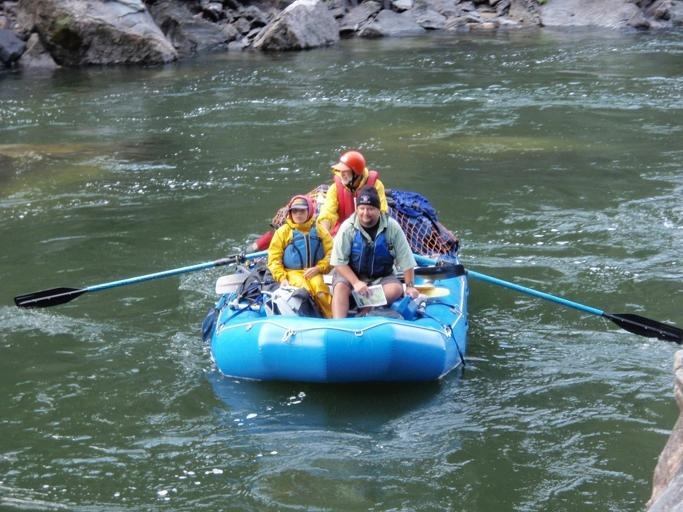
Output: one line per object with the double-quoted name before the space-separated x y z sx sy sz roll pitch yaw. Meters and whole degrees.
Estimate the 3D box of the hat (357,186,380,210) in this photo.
"hat" 0.333 -0.734 13.532 0.265 0.186 0.321 2 3 7

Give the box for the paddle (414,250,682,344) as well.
"paddle" 2.866 0.619 14.633 3.333 0.220 0.378 16 40 20

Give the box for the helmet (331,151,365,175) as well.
"helmet" 0.145 -1.240 14.579 0.471 0.199 0.291 7 15 -20

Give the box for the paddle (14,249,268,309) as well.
"paddle" -2.908 0.380 15.276 3.374 0.196 0.306 -10 22 10
